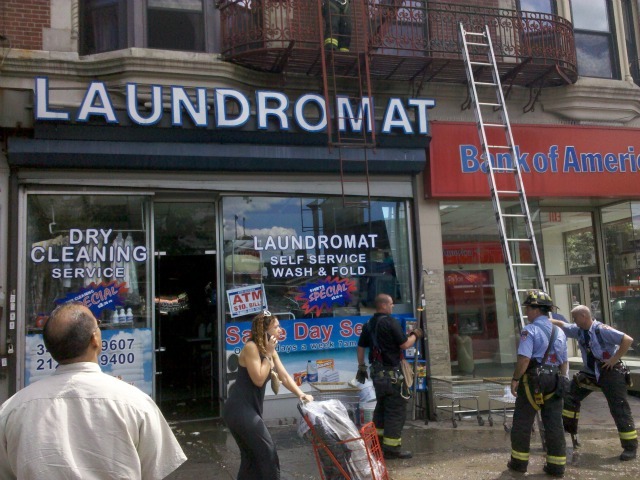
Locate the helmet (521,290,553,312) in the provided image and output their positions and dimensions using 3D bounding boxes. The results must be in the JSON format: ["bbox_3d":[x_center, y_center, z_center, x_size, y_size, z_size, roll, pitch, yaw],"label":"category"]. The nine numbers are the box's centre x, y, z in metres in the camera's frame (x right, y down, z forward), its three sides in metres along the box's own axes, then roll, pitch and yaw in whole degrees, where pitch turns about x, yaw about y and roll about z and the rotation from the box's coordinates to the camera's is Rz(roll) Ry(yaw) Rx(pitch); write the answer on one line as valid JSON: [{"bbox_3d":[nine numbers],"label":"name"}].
[{"bbox_3d":[3.107,0.866,10.513,0.267,0.211,0.388,10,-3,-17],"label":"helmet"}]

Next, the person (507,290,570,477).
[{"bbox_3d":[3.095,1.987,10.281,0.778,2.461,0.922,1,6,19],"label":"person"}]

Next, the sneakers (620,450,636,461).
[{"bbox_3d":[4.457,3.101,10.471,0.209,0.147,0.121,7,-9,-26],"label":"sneakers"}]
